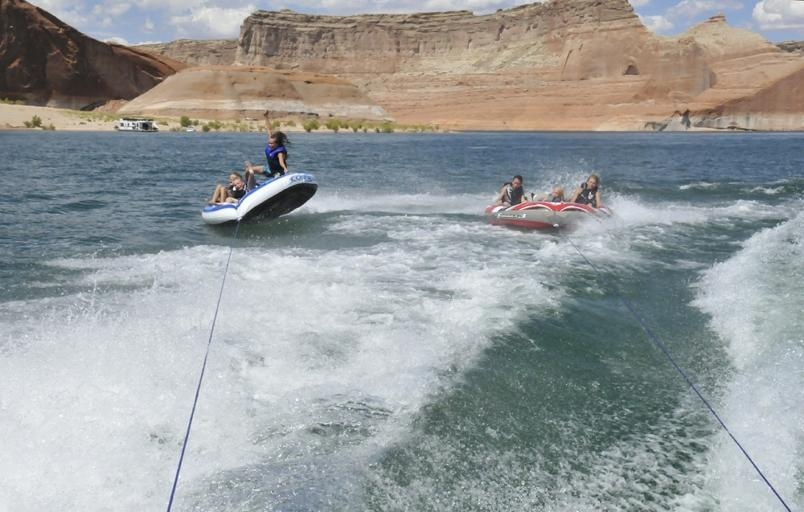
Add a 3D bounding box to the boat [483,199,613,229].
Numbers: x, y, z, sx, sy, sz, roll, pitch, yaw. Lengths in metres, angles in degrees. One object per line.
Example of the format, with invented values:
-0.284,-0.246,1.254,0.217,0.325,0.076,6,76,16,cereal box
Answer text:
3.573,-1.047,15.271,2.791,0.705,0.741,1,25,5,boat
